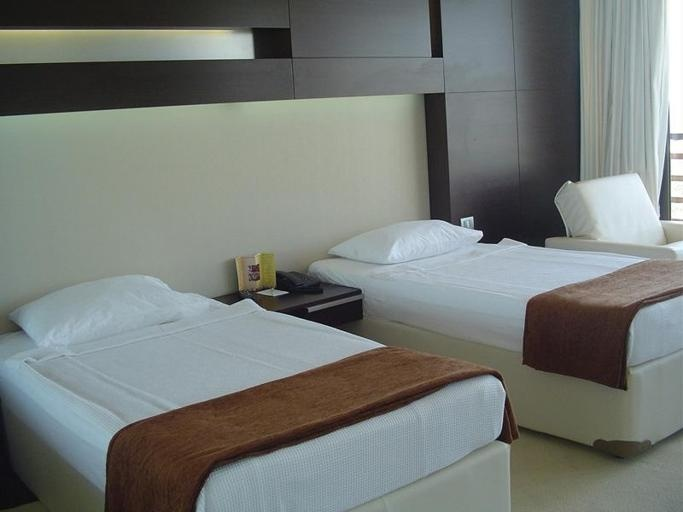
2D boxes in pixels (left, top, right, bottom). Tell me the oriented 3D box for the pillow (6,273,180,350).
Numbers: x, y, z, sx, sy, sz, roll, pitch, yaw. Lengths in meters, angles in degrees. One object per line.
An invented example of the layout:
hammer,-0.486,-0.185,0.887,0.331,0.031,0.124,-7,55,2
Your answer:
pillow,-1.384,0.303,3.022,0.484,0.207,0.855,12,22,39

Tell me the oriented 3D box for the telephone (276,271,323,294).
telephone,-0.305,0.198,3.702,0.227,0.076,0.196,9,11,32
